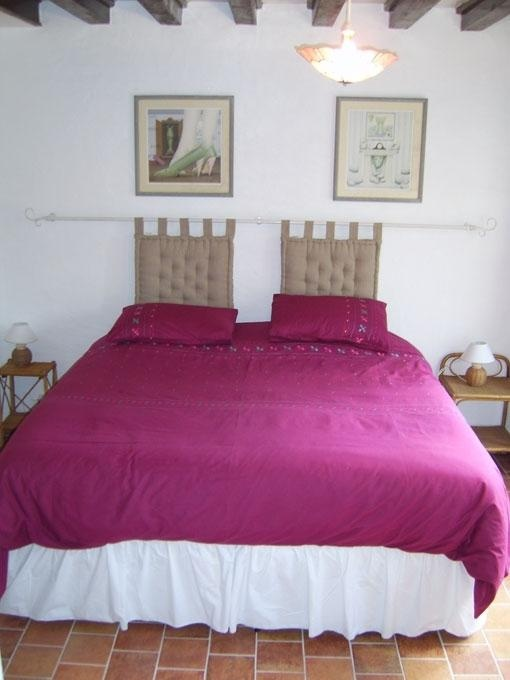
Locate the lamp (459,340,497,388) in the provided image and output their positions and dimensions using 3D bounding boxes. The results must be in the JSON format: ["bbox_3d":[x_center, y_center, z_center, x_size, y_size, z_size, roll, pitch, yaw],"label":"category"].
[{"bbox_3d":[1.365,0.141,3.487,0.255,0.325,0.259,3,19,19],"label":"lamp"}]

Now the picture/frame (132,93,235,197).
[{"bbox_3d":[-0.449,-1.281,3.536,0.615,0.601,0.045,1,15,-1],"label":"picture/frame"}]

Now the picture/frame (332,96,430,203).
[{"bbox_3d":[0.802,-1.243,3.503,0.614,0.658,0.028,1,15,0],"label":"picture/frame"}]

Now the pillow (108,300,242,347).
[{"bbox_3d":[-0.465,-0.088,3.246,0.514,0.125,0.337,4,35,3],"label":"pillow"}]

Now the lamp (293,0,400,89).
[{"bbox_3d":[0.322,-1.008,1.883,0.270,0.190,0.295,15,20,42],"label":"lamp"}]
